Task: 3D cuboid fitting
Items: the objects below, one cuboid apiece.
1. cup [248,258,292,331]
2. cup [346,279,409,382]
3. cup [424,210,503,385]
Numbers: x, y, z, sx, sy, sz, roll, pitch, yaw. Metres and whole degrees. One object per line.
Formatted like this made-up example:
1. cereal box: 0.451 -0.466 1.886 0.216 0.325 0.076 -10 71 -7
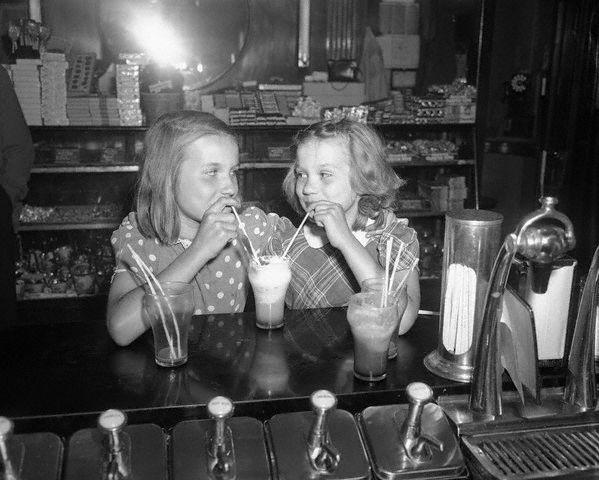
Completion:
1. cup: -0.093 0.162 1.626 0.142 0.218 0.155 0 6 0
2. cup: 0.197 0.218 1.377 0.117 0.213 0.223 3 13 22
3. cup: 0.451 0.150 1.416 0.227 0.398 0.229 3 5 0
